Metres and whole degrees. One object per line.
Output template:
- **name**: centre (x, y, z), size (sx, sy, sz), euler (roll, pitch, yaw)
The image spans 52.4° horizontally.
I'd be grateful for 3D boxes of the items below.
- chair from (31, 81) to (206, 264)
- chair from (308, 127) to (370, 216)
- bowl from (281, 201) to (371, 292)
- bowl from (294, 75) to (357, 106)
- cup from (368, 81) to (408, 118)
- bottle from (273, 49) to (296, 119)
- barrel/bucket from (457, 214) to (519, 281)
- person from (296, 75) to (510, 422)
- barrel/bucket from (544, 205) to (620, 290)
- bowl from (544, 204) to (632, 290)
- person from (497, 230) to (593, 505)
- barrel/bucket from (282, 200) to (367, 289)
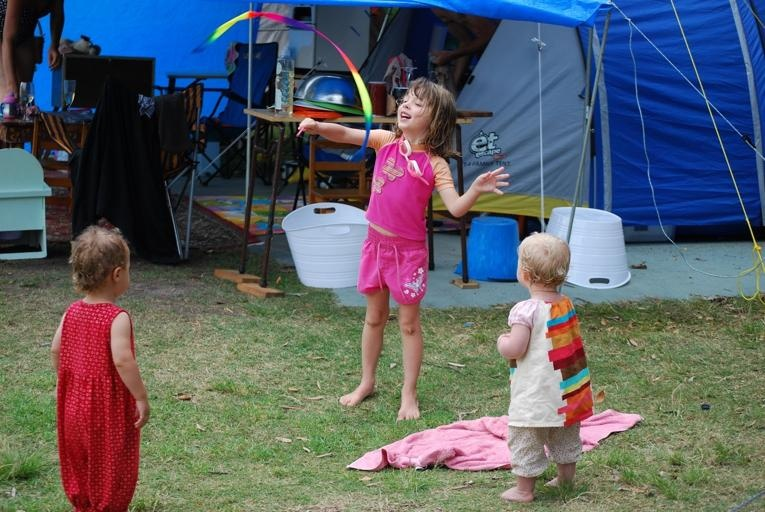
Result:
- **chair**: centre (-2.419, -0.762, 7.032), size (1.847, 1.791, 1.459), euler (-4, 14, -32)
- **chair**: centre (-0.470, -0.841, 8.000), size (0.856, 0.943, 1.052), euler (0, 5, -8)
- **bowl**: centre (-0.485, -0.088, 6.252), size (0.806, 0.538, 0.691), euler (0, 2, -6)
- **bowl**: centre (-0.447, -1.285, 5.966), size (0.407, 0.126, 0.293), euler (9, 3, 44)
- **cup**: centre (0.129, -1.256, 6.278), size (0.420, 0.327, 0.248), euler (1, 6, 11)
- **bottle**: centre (-0.736, -1.282, 5.842), size (0.129, 0.437, 0.250), euler (3, 6, -9)
- **barrel/bucket**: centre (0.928, -0.060, 6.823), size (0.562, 0.421, 0.519), euler (3, 6, 0)
- **person**: centre (0.200, -0.033, 4.448), size (0.756, 1.942, 0.298), euler (8, 7, 33)
- **barrel/bucket**: centre (1.792, -0.035, 6.837), size (0.758, 0.464, 0.800), euler (3, 15, -1)
- **bowl**: centre (1.787, -0.038, 6.847), size (0.788, 0.484, 0.834), euler (3, 14, -1)
- **person**: centre (0.770, 0.529, 3.672), size (0.442, 1.259, 0.217), euler (5, 6, 15)
- **barrel/bucket**: centre (-0.479, -0.087, 6.255), size (0.803, 0.537, 0.689), euler (0, 2, -6)
